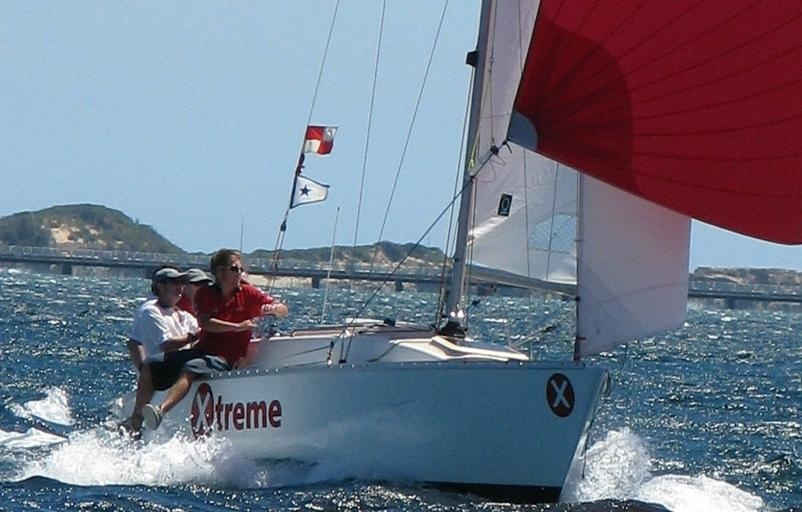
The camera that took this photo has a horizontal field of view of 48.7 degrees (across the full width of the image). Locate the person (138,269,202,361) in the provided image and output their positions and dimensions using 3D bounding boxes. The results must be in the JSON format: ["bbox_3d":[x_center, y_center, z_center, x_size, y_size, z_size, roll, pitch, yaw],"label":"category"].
[{"bbox_3d":[-2.184,0.641,8.275,0.593,1.079,0.551,-1,-6,-16],"label":"person"}]

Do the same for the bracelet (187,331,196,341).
[{"bbox_3d":[-1.925,0.730,8.016,0.064,0.042,0.108,0,1,-19],"label":"bracelet"}]

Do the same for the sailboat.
[{"bbox_3d":[-0.783,1.074,8.198,2.028,2.086,4.498,6,-13,-39],"label":"sailboat"}]

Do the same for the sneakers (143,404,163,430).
[{"bbox_3d":[-2.119,1.351,7.464,0.129,0.252,0.105,0,4,29],"label":"sneakers"}]

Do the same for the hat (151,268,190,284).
[{"bbox_3d":[-2.171,0.191,8.200,0.204,0.111,0.165,-1,0,-9],"label":"hat"}]
